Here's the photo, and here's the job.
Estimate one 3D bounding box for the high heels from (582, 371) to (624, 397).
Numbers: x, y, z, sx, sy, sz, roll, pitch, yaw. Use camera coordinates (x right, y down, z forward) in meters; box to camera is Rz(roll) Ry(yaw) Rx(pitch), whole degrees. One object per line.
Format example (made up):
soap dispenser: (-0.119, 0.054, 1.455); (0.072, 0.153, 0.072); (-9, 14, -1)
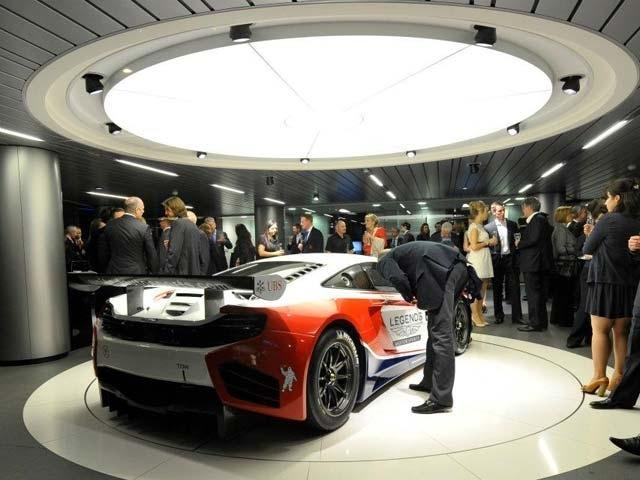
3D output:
high heels: (3.074, 1.587, 4.736); (0.180, 0.222, 0.528); (-1, -2, -14)

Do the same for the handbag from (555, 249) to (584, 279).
handbag: (4.608, 0.464, 7.849); (0.473, 0.499, 0.477); (1, -3, 33)

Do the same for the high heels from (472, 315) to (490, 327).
high heels: (2.980, 1.520, 7.829); (0.205, 0.107, 0.293); (-9, 6, -35)

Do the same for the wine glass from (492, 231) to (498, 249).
wine glass: (3.312, -0.011, 7.975); (0.097, 0.181, 0.251); (-2, 26, 13)

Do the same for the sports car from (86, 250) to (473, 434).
sports car: (-0.063, 0.826, 4.310); (1.594, 0.770, 2.954); (1, 4, 38)
